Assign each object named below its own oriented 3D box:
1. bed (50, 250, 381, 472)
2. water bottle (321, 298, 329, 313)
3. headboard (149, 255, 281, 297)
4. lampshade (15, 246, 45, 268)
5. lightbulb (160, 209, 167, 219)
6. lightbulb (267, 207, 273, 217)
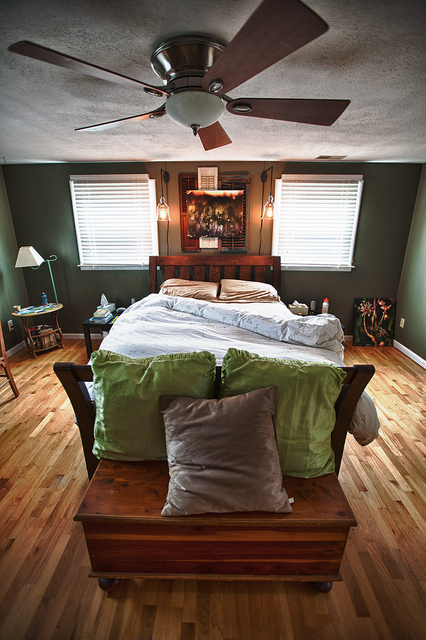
[{"bbox_3d":[0.087,0.158,2.927,1.690,1.009,2.580,-1,12,4],"label":"bed"},{"bbox_3d":[1.201,-0.132,4.331,0.067,0.164,0.254,4,18,15],"label":"water bottle"},{"bbox_3d":[0.076,-0.534,4.170,1.556,0.411,0.562,4,12,-8],"label":"headboard"},{"bbox_3d":[-1.685,-0.567,3.819,0.232,0.147,0.200,2,27,-5],"label":"lampshade"},{"bbox_3d":[-0.466,-1.002,3.888,0.071,0.103,0.067,0,-3,23],"label":"lightbulb"},{"bbox_3d":[0.550,-1.022,3.909,0.048,0.087,0.015,-1,19,0],"label":"lightbulb"}]
